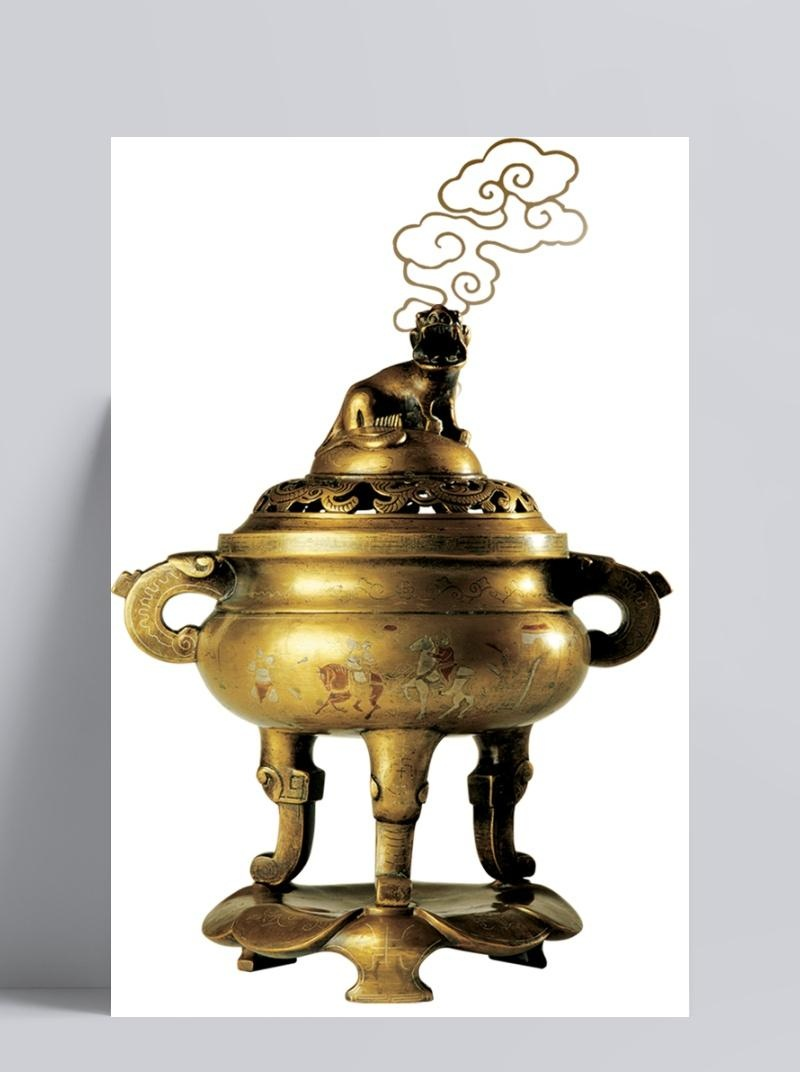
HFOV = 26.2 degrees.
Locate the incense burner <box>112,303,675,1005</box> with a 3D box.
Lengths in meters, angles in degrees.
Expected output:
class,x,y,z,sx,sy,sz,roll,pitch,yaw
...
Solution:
class,x,y,z,sx,sy,sz,roll,pitch,yaw
incense burner,-0.009,0.160,2.430,0.557,0.953,0.519,4,-10,-43
